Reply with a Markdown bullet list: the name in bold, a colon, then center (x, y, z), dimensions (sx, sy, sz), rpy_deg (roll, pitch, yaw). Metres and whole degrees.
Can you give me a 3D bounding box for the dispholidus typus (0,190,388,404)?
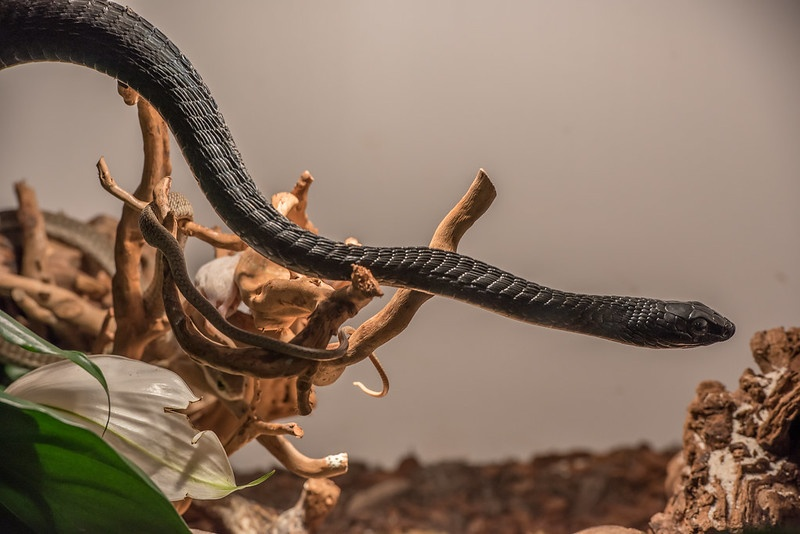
- **dispholidus typus**: center (-0.361, 0.031, 2.389), dimensions (0.582, 0.426, 0.228), rpy_deg (40, -14, 11)
